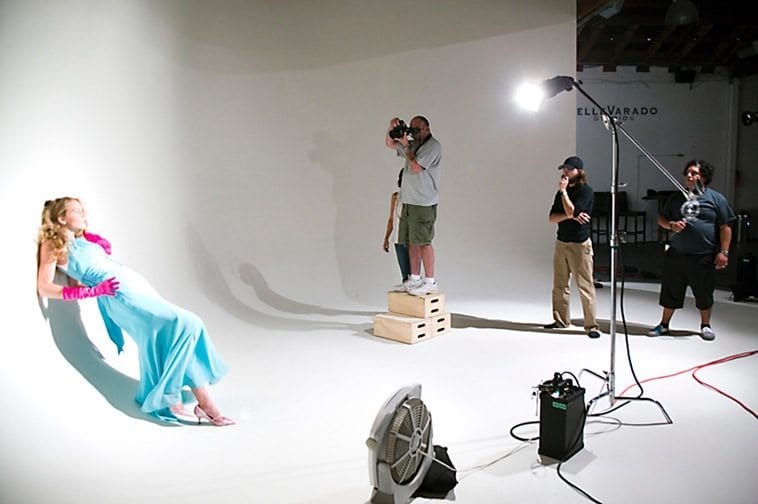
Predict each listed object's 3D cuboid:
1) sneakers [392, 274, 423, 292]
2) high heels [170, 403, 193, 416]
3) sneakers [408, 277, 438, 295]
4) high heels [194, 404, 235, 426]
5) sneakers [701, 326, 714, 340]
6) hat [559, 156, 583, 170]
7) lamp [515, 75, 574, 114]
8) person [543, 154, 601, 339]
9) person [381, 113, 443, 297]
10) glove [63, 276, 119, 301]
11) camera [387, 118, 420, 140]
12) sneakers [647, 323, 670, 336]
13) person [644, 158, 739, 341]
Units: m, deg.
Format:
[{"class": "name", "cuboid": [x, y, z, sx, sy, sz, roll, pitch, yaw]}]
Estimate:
[{"class": "sneakers", "cuboid": [0.294, 0.325, 6.296, 0.343, 0.161, 0.132, -4, 7, 6]}, {"class": "high heels", "cuboid": [-1.565, 1.243, 4.706, 0.198, 0.091, 0.069, -1, 0, 0]}, {"class": "sneakers", "cuboid": [0.474, 0.369, 6.276, 0.337, 0.179, 0.135, -1, 4, -18]}, {"class": "high heels", "cuboid": [-1.293, 1.253, 4.632, 0.359, 0.177, 0.132, 2, -3, -14]}, {"class": "sneakers", "cuboid": [3.288, 0.807, 5.954, 0.089, 0.070, 0.159, -3, 2, 5]}, {"class": "hat", "cuboid": [1.979, -0.908, 6.127, 0.197, 0.136, 0.162, 0, 5, 8]}, {"class": "lamp", "cuboid": [1.286, -1.225, 4.566, 0.421, 0.249, 0.286, 1, 5, 16]}, {"class": "person", "cuboid": [2.031, -0.068, 6.192, 0.539, 1.823, 0.456, 1, 5, 16]}, {"class": "person", "cuboid": [0.366, -0.478, 6.264, 0.544, 1.823, 0.453, 0, 5, 1]}, {"class": "glove", "cuboid": [-2.177, 0.271, 4.497, 0.300, 0.084, 0.108, -10, -30, -11]}, {"class": "camera", "cuboid": [0.238, -1.252, 6.111, 0.312, 0.203, 0.155, -7, 6, -30]}, {"class": "sneakers", "cuboid": [2.851, 0.799, 6.079, 0.247, 0.103, 0.099, -15, 12, -32]}, {"class": "person", "cuboid": [3.099, -0.012, 5.915, 0.692, 1.763, 1.385, 3, 6, 32]}]
